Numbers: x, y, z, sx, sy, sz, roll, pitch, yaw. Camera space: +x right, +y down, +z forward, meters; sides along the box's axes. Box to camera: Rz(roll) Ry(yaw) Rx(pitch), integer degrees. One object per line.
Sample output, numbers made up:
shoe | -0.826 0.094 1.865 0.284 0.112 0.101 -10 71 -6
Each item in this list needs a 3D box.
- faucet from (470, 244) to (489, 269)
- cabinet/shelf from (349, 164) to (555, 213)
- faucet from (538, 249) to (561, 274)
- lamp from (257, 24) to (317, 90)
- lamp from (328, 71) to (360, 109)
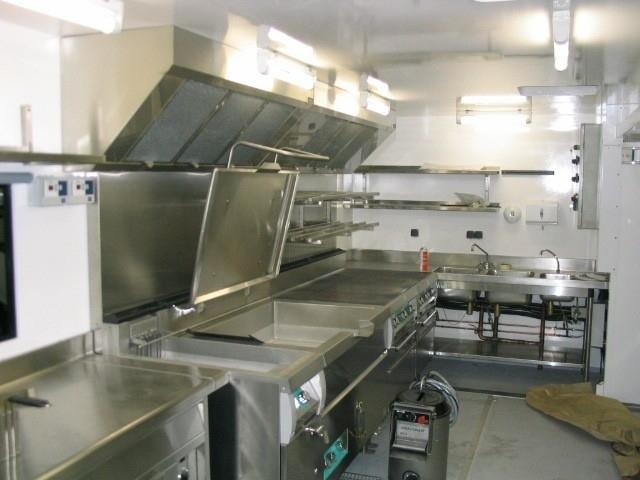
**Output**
faucet | 1.546 0.142 5.133 0.189 0.207 0.261 8 12 15
cabinet/shelf | 1.192 -0.504 5.146 1.704 0.493 0.643 6 11 5
faucet | 2.166 0.192 4.926 0.176 0.168 0.322 3 11 -10
lamp | -0.142 -0.871 2.598 0.064 0.156 0.319 10 5 30
lamp | 0.157 -0.946 3.375 0.072 0.203 0.389 10 12 25
